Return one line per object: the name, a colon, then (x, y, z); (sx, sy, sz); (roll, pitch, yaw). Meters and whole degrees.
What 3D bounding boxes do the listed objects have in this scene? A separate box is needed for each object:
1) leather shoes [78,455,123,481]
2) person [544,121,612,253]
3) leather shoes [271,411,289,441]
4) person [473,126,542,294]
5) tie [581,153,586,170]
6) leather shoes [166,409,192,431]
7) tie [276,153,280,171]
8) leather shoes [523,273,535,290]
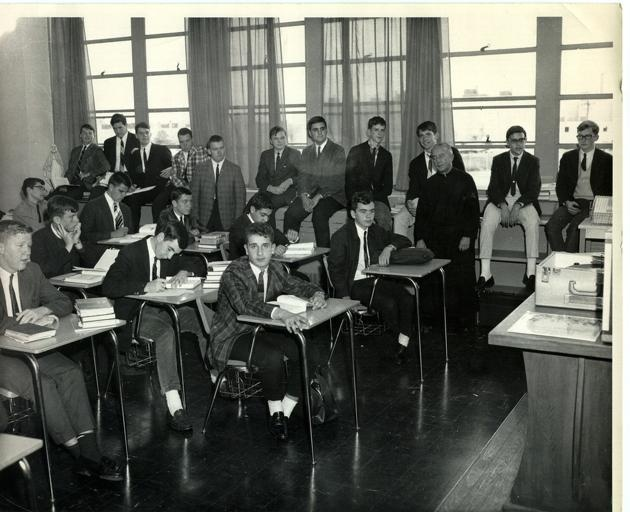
leather shoes: (-1.312, 1.299, 3.588); (0.251, 0.111, 0.132); (2, -2, 8)
person: (2.911, -0.758, 6.462); (0.645, 1.409, 0.688); (4, 14, 19)
leather shoes: (-0.233, 1.139, 3.959); (0.082, 0.091, 0.215); (1, 20, -10)
person: (2.224, -0.541, 6.666); (0.624, 1.797, 0.672); (4, 14, 19)
tie: (2.990, -1.044, 6.525); (0.055, 0.167, 0.038); (5, 14, 25)
leather shoes: (-0.952, 1.154, 4.119); (0.092, 0.086, 0.195); (-5, 9, -44)
tie: (-0.501, -1.276, 7.852); (0.042, 0.200, 0.058); (5, 7, 13)
leather shoes: (2.402, 0.289, 6.589); (0.092, 0.226, 0.240); (0, 13, 5)
